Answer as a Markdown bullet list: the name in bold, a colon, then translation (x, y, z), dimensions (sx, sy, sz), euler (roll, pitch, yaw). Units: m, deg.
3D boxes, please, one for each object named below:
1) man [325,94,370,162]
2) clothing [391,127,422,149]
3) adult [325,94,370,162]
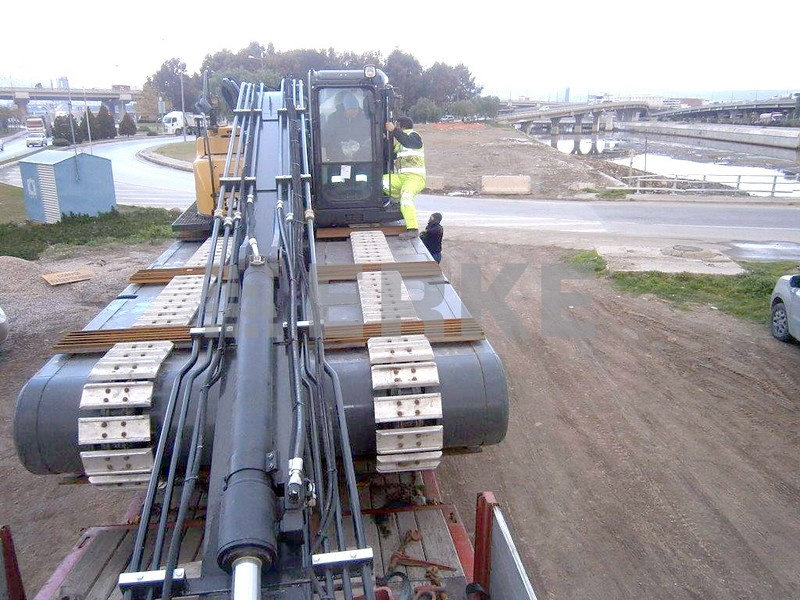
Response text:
- **man**: translation (-0.854, -2.766, 8.089), dimensions (0.677, 1.009, 0.229), euler (-2, 13, -1)
- **clothing**: translation (0.041, -2.880, 9.060), dimensions (0.531, 0.214, 0.404), euler (37, 22, 22)
- **adult**: translation (-0.848, -2.867, 8.470), dimensions (0.677, 1.009, 0.229), euler (-2, 13, -1)
